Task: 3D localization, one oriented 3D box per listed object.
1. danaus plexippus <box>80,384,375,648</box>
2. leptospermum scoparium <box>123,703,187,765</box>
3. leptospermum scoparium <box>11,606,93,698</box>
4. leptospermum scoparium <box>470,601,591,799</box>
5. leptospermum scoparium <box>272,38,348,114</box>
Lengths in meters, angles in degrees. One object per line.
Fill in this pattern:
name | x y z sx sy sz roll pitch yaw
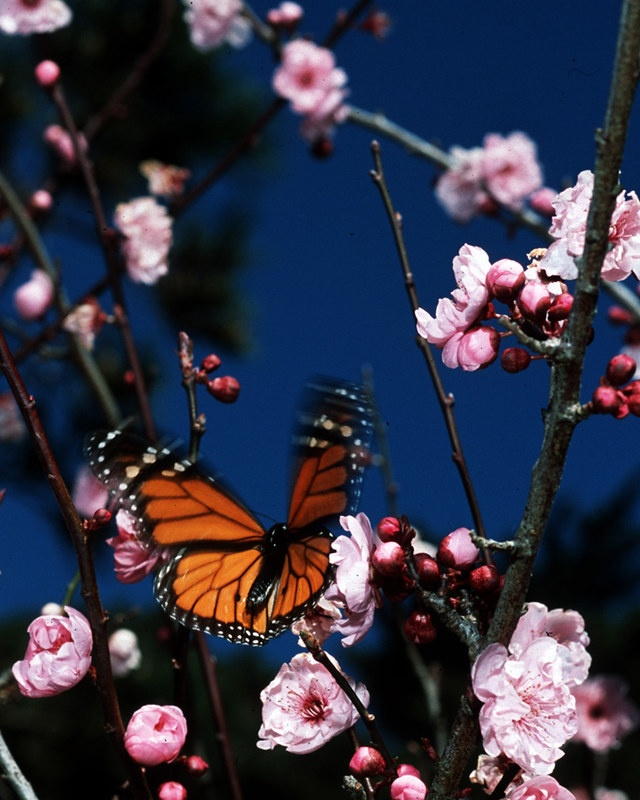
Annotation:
danaus plexippus | -0.155 0.248 2.137 0.563 0.458 0.356 3 -19 -40
leptospermum scoparium | -0.272 0.561 1.922 0.094 0.108 0.157 -4 -1 -7
leptospermum scoparium | -0.444 0.426 1.951 0.106 0.127 0.180 24 -40 -30
leptospermum scoparium | 0.329 0.463 1.802 0.326 0.256 0.137 -3 9 -43
leptospermum scoparium | -0.027 -0.727 2.615 0.170 0.041 0.155 0 -63 -37
